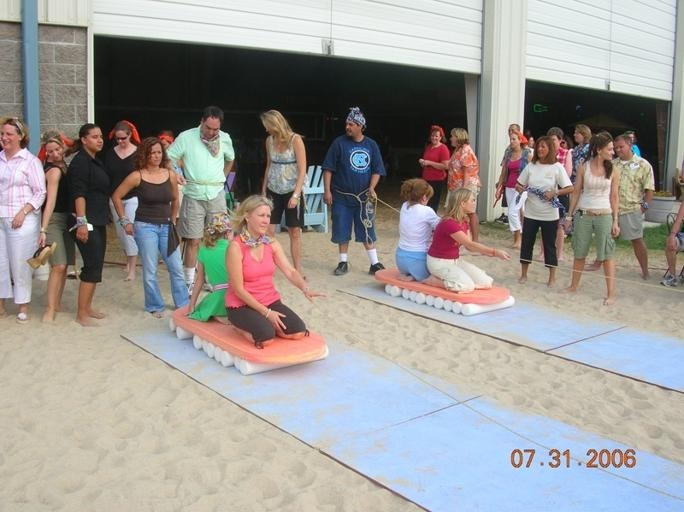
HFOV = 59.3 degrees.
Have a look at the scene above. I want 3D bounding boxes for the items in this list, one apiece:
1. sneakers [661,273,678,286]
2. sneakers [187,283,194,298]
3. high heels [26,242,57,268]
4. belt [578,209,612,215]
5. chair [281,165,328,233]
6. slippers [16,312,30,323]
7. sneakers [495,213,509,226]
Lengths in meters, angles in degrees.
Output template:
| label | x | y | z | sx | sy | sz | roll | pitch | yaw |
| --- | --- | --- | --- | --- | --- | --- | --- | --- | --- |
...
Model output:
| label | x | y | z | sx | sy | sz | roll | pitch | yaw |
| --- | --- | --- | --- | --- | --- | --- | --- | --- | --- |
| sneakers | 4.688 | 0.333 | 8.557 | 0.385 | 0.180 | 0.139 | 0 | 9 | -42 |
| sneakers | -1.763 | 0.399 | 6.937 | 0.043 | 0.132 | 0.093 | 9 | -26 | -28 |
| high heels | -3.027 | -0.007 | 6.094 | 0.123 | 0.153 | 0.428 | 29 | 24 | -19 |
| belt | 3.215 | -0.560 | 7.689 | 0.377 | 0.074 | 0.077 | 10 | 16 | 28 |
| chair | -0.950 | -1.120 | 12.121 | 1.196 | 1.606 | 1.097 | 0 | 7 | 9 |
| slippers | -3.449 | 0.631 | 6.473 | 0.108 | 0.113 | 0.289 | -6 | 17 | -27 |
| sneakers | 3.540 | -0.813 | 13.330 | 0.137 | 0.171 | 0.412 | 0 | 4 | -8 |
